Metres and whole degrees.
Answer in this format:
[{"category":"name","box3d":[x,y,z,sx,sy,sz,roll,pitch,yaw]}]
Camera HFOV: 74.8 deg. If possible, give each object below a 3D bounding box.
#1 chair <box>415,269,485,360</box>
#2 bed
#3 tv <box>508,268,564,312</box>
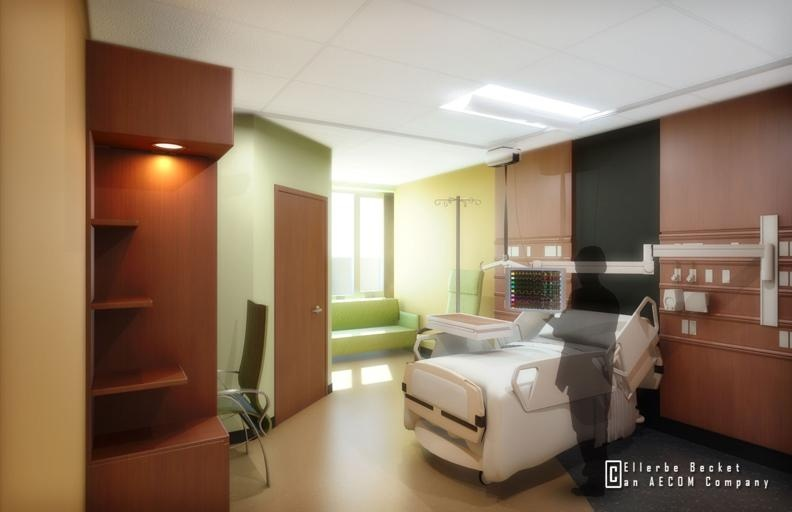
[{"category":"chair","box3d":[0.778,0.918,7.242,0.927,1.386,0.838,-8,5,-24]},{"category":"bed","box3d":[1.390,1.105,5.220,2.442,1.314,1.614,-3,2,-25]},{"category":"tv","box3d":[1.209,0.279,4.497,0.482,0.364,0.159,0,2,17]}]
